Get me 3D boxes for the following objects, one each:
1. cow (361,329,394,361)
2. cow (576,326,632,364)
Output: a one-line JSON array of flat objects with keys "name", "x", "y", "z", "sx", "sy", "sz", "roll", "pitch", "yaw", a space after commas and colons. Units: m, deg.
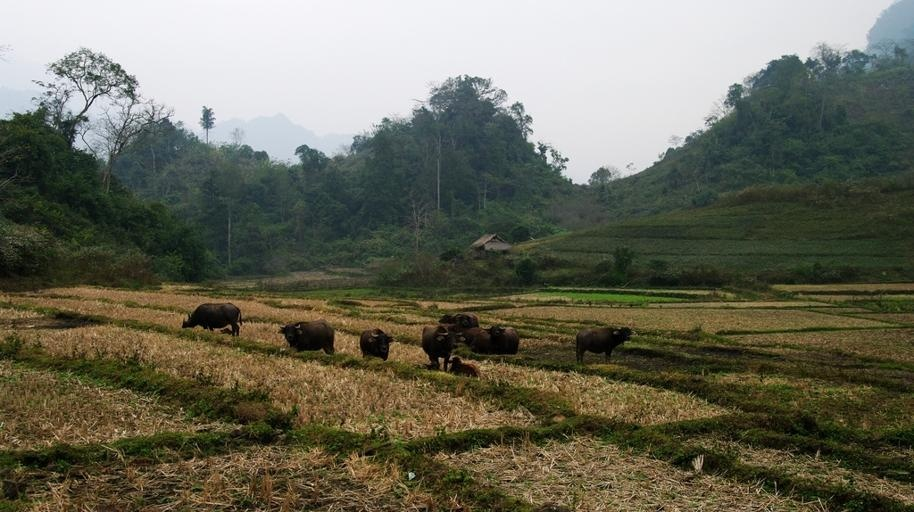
[{"name": "cow", "x": -6.586, "y": 7.039, "z": 53.786, "sx": 2.398, "sy": 2.209, "sz": 1.809, "roll": 4, "pitch": 11, "yaw": 2}, {"name": "cow", "x": 12.278, "y": 7.438, "z": 56.988, "sx": 5.556, "sy": 2.742, "sz": 2.181, "roll": 3, "pitch": -4, "yaw": -21}]
